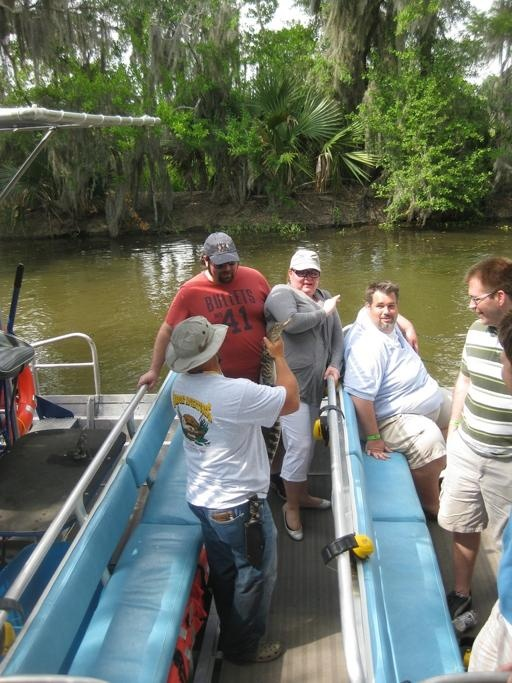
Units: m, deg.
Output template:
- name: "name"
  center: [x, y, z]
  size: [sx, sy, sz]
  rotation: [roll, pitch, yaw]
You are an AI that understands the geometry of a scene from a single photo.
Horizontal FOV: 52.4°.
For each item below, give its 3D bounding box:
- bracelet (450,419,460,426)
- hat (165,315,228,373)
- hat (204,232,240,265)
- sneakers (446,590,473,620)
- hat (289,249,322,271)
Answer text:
- name: "bracelet"
  center: [1.054, 0.428, 2.745]
  size: [0.037, 0.023, 0.036]
  rotation: [2, -2, -1]
- name: "hat"
  center: [-0.237, 0.017, 2.073]
  size: [0.245, 0.180, 0.198]
  rotation: [-4, 15, -6]
- name: "hat"
  center: [-0.218, -0.548, 3.055]
  size: [0.154, 0.118, 0.221]
  rotation: [-13, 31, -17]
- name: "sneakers"
  center: [0.993, 1.266, 2.549]
  size: [0.070, 0.082, 0.214]
  rotation: [-19, -4, 42]
- name: "hat"
  center: [0.300, -0.489, 3.206]
  size: [0.149, 0.099, 0.190]
  rotation: [6, 6, -4]
